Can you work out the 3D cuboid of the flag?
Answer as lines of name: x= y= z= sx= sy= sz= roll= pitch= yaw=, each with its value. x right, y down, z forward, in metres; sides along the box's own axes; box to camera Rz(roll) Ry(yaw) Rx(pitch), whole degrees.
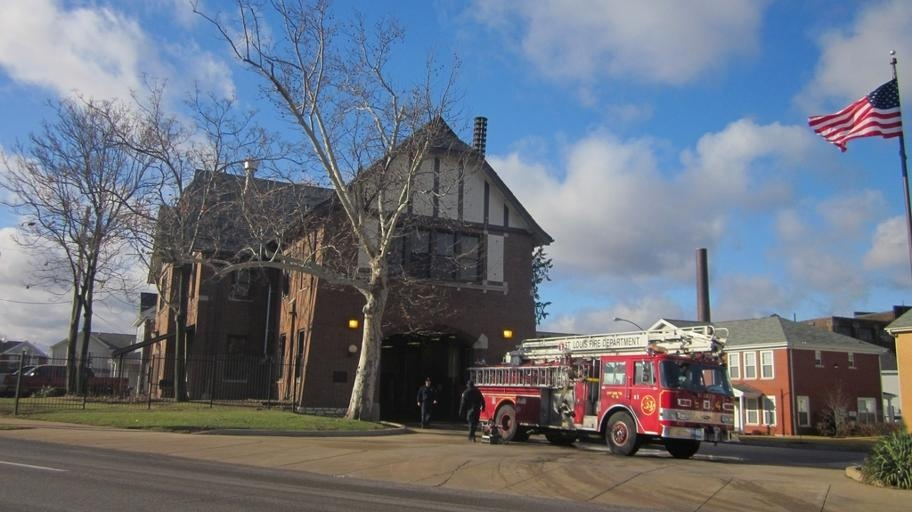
flag: x=16.653 y=-5.786 z=28.700 sx=2.763 sy=2.632 sz=0.604 roll=-6 pitch=-17 yaw=27
